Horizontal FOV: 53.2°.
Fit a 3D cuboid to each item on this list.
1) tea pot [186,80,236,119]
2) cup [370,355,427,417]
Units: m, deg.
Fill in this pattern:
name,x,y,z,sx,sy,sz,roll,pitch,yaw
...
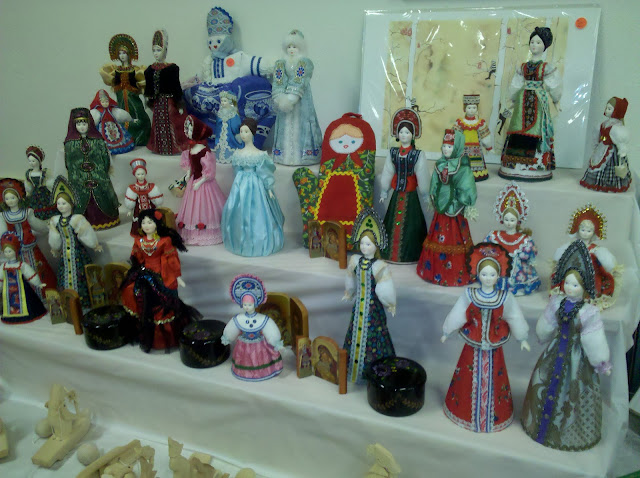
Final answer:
name,x,y,z,sx,sy,sz,roll,pitch,yaw
tea pot,-1.064,-1.348,5.980,0.310,0.327,0.457,7,20,5
cup,0.499,0.958,4.156,0.371,0.285,0.257,1,17,7
